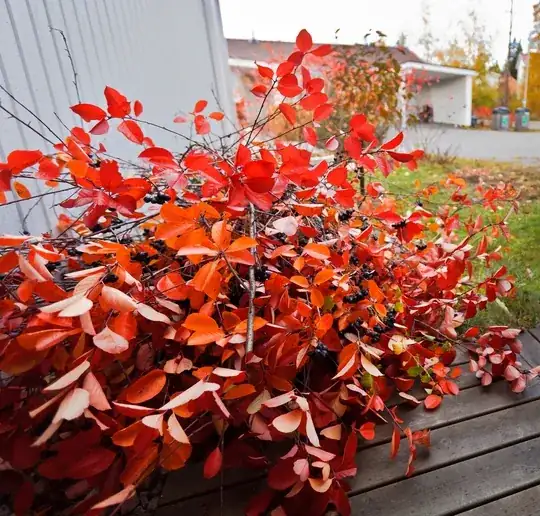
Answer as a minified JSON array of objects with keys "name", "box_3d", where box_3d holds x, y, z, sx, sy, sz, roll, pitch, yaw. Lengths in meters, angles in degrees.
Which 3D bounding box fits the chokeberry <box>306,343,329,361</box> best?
[{"name":"chokeberry","box_3d":[0.135,0.267,1.115,0.066,0.026,0.057,-6,6,18]}]
